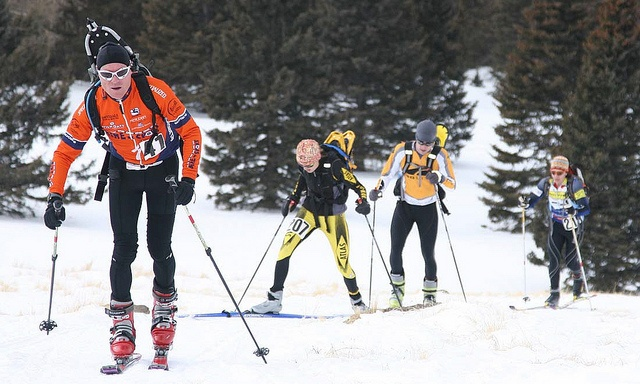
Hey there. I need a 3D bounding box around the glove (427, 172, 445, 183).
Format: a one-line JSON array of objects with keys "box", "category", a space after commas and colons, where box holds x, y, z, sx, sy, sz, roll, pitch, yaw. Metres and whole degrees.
[{"box": [3.643, -0.438, 26.634, 0.575, 0.375, 0.232, -1, -2, 4], "category": "glove"}]

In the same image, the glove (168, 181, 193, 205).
[{"box": [-3.906, 0.049, 23.843, 0.719, 0.717, 0.301, -1, -2, -2], "category": "glove"}]

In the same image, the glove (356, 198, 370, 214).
[{"box": [1.345, 0.466, 26.110, 0.452, 0.504, 0.364, -1, -2, 0], "category": "glove"}]
